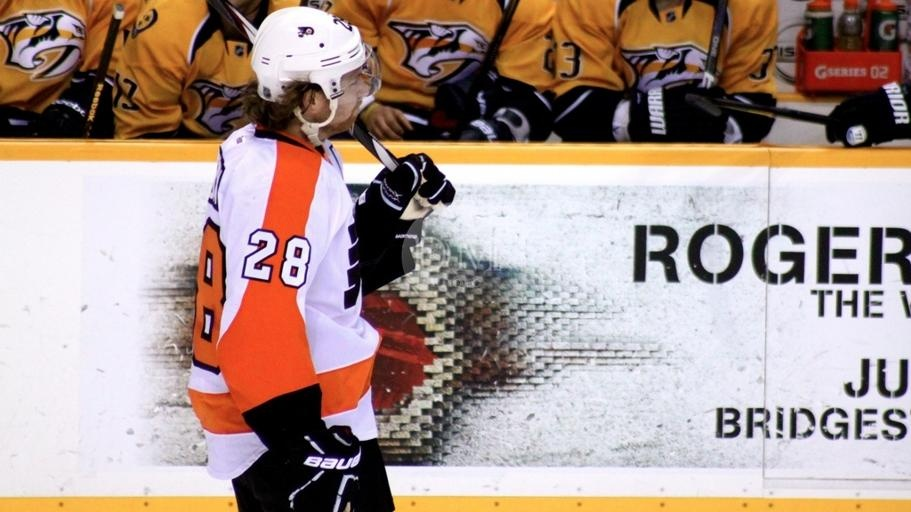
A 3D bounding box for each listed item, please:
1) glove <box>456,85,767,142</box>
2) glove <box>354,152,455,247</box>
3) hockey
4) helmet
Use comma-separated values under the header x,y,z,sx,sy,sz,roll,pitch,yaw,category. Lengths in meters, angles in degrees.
x,y,z,sx,sy,sz,roll,pitch,yaw,category
0.753,-0.681,7.697,1.054,0.285,0.239,-1,22,25,glove
-0.255,-0.254,6.877,0.499,0.283,0.180,-36,-43,11,glove
1.321,-0.723,7.450,0.741,0.102,0.206,7,-32,32,hockey
-0.586,-0.850,6.635,0.456,0.298,0.347,-6,37,-7,helmet
